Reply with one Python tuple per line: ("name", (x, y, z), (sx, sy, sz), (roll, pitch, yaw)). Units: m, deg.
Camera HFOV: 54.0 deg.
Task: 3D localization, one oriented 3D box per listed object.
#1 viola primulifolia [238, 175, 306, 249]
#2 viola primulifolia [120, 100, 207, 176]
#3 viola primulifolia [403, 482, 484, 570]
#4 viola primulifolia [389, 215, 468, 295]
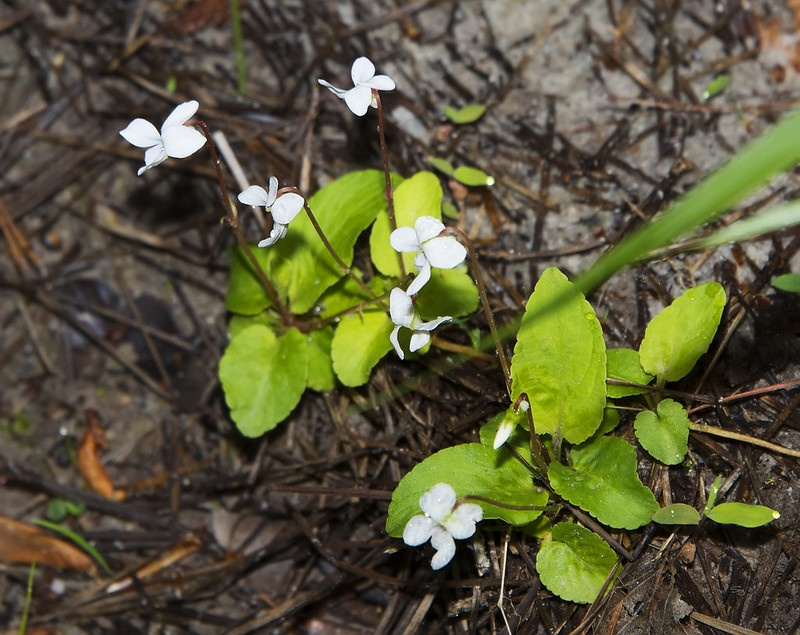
("viola primulifolia", (-0.484, -0.395, 2.990), (0.237, 0.268, 0.157), (17, 36, 17))
("viola primulifolia", (-0.864, -0.640, 2.919), (0.282, 0.319, 0.088), (19, 0, 20))
("viola primulifolia", (0.137, 0.724, 2.724), (0.267, 0.271, 0.076), (-4, -9, 34))
("viola primulifolia", (0.080, -0.184, 2.826), (0.178, 0.317, 0.252), (-14, 49, -26))
